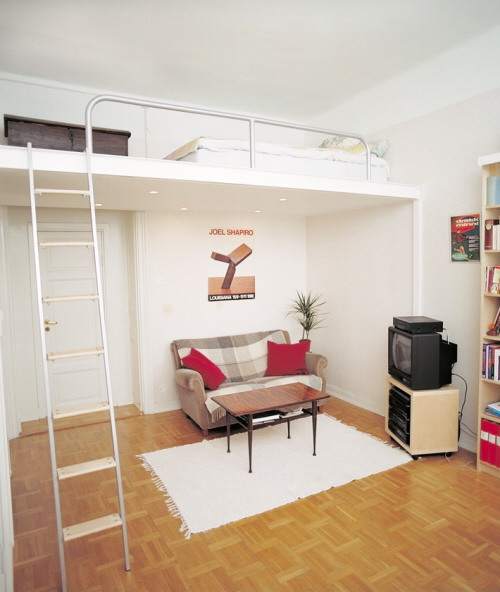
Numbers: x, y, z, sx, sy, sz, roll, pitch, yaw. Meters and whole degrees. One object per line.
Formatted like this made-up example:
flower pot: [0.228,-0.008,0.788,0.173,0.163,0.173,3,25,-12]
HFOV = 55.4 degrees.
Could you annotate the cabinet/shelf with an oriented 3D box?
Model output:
cabinet/shelf: [1.453,0.953,4.186,0.565,0.772,0.697,0,1,-11]

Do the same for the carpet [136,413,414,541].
carpet: [0.156,1.347,3.848,1.855,0.023,1.279,-4,7,-26]

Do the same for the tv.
tv: [1.417,0.519,4.024,0.487,0.429,0.512,-2,3,-10]

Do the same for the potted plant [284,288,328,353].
potted plant: [0.742,0.220,5.946,0.562,0.777,0.560,4,-2,-28]

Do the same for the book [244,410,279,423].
book: [0.130,0.987,3.885,0.159,0.036,0.148,0,0,-23]

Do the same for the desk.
desk: [-1.454,-1.306,3.902,0.976,0.228,0.200,-5,8,-27]

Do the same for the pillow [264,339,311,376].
pillow: [0.417,0.693,5.245,0.395,0.354,0.130,1,-28,12]

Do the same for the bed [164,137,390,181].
bed: [0.356,-1.128,3.898,1.954,0.370,0.462,-5,8,-30]

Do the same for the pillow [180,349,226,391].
pillow: [-0.473,0.756,4.851,0.379,0.366,0.527,-5,7,-25]

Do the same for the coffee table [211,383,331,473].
coffee table: [0.125,0.896,3.973,1.079,0.517,0.560,-4,9,-28]
